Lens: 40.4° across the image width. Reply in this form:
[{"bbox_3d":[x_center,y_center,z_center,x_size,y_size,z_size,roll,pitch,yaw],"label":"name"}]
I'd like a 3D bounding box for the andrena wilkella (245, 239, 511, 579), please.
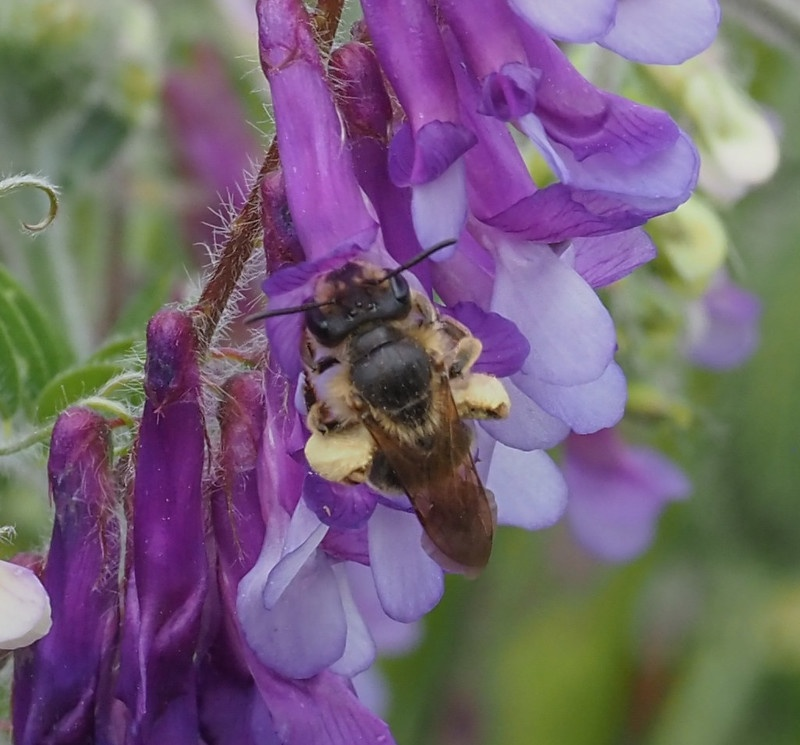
[{"bbox_3d":[-0.004,0.016,0.691,0.129,0.218,0.062,-20,30,-6],"label":"andrena wilkella"}]
